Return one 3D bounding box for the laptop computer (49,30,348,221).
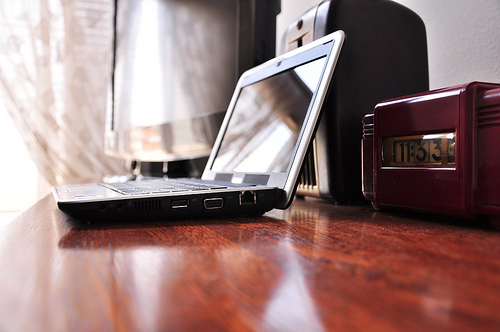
[{"bbox_3d":[-0.108,-0.042,0.715,0.428,0.295,0.455,2,0,-15],"label":"laptop computer"}]
